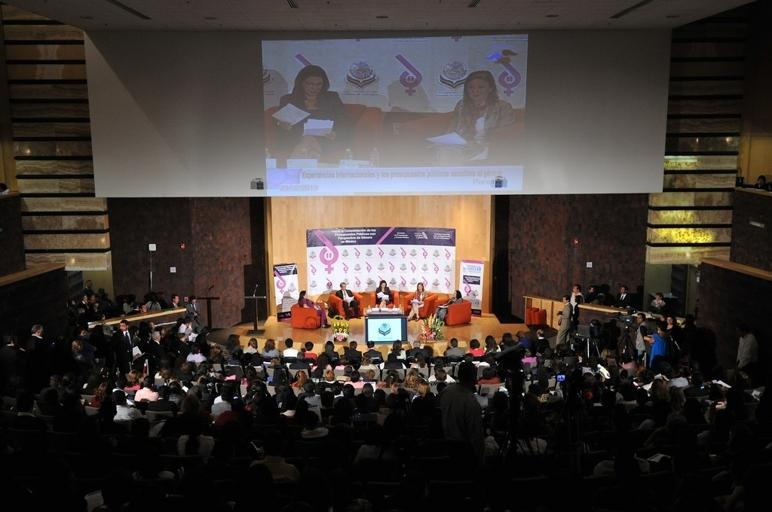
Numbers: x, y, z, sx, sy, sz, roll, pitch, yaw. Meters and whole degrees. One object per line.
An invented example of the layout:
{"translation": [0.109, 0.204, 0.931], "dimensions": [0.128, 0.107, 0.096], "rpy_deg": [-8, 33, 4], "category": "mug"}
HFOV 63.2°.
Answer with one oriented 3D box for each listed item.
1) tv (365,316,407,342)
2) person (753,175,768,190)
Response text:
{"translation": [0.011, 1.797, 16.184], "dimensions": [0.778, 0.478, 0.779], "rpy_deg": [-1, 1, -3], "category": "tv"}
{"translation": [9.106, -1.760, 15.138], "dimensions": [0.281, 0.433, 1.561], "rpy_deg": [2, 4, 30], "category": "person"}
